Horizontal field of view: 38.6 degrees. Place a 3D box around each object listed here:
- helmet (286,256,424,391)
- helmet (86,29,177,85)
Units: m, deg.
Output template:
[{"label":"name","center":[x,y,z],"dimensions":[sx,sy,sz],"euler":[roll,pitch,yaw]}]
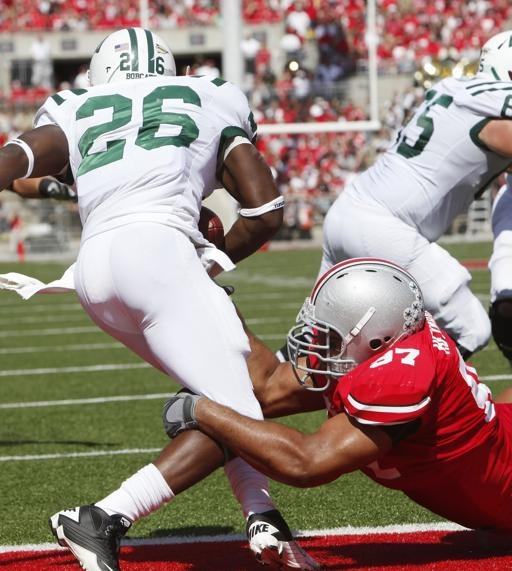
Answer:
[{"label":"helmet","center":[0.231,0.126,1.802],"dimensions":[0.350,0.395,0.258],"euler":[6,18,21]},{"label":"helmet","center":[-0.337,-0.647,2.166],"dimensions":[0.281,0.165,0.183],"euler":[-2,5,15]}]
